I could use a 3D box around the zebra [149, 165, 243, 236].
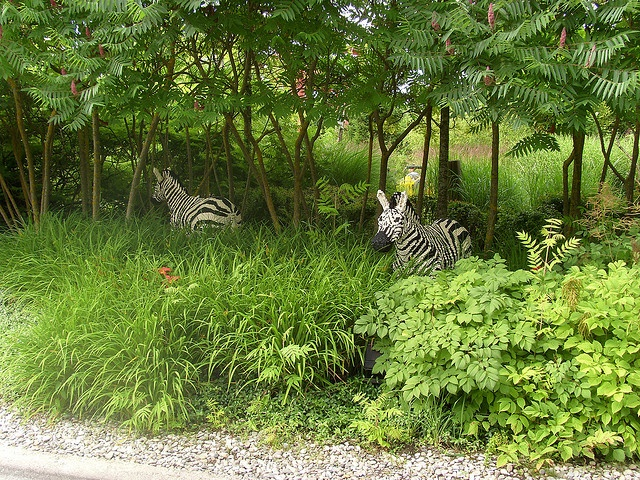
[{"bbox_3d":[-1.791,-0.350,7.586,1.360,1.130,0.491,11,-1,21],"label":"zebra"}]

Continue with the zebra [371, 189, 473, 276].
[{"bbox_3d":[1.145,0.076,6.050,1.578,1.237,0.491,-5,5,-42],"label":"zebra"}]
